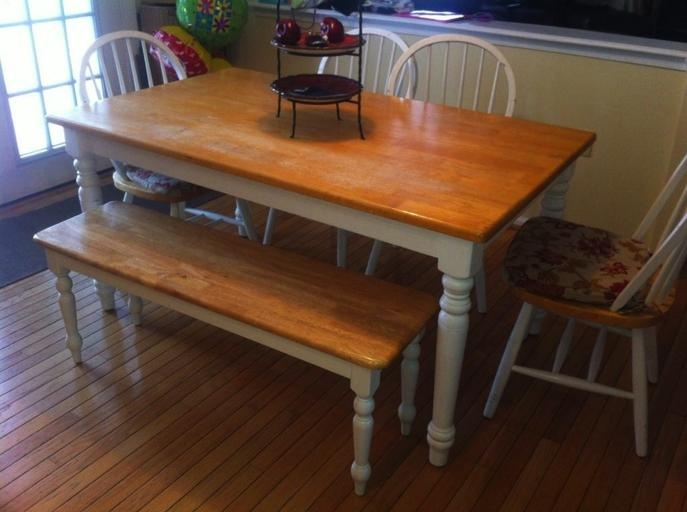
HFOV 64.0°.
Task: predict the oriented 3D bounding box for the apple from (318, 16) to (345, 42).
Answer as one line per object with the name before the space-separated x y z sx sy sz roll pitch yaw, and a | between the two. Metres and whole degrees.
apple | -0.040 -0.863 2.097 0.087 0.080 0.130 -1 30 -8

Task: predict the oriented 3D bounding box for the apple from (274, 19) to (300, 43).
apple | -0.216 -0.837 2.063 0.101 0.097 0.094 6 12 6
